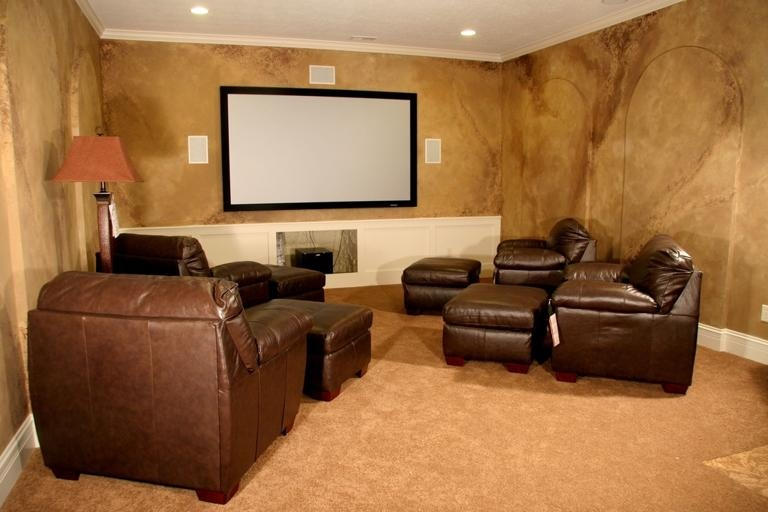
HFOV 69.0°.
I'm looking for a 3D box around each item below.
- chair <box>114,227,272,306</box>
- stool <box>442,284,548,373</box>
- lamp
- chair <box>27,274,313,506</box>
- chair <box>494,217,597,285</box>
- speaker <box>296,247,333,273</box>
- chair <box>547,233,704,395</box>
[{"bbox_3d":[-1.727,-0.075,4.956,1.227,0.806,0.729,3,8,31],"label":"chair"},{"bbox_3d":[0.872,0.807,5.508,0.863,0.549,1.146,5,-8,-3],"label":"stool"},{"bbox_3d":[-2.416,-0.338,4.795,0.802,1.338,0.744,-4,7,-36],"label":"lamp"},{"bbox_3d":[-1.467,0.791,4.137,1.627,1.313,1.542,1,5,8],"label":"chair"},{"bbox_3d":[1.843,0.034,6.728,1.160,0.945,1.118,0,11,-1],"label":"chair"},{"bbox_3d":[-0.926,0.051,7.458,0.393,0.280,0.378,-1,2,-29],"label":"speaker"},{"bbox_3d":[2.281,0.387,5.356,1.308,1.186,1.762,3,11,27],"label":"chair"}]
